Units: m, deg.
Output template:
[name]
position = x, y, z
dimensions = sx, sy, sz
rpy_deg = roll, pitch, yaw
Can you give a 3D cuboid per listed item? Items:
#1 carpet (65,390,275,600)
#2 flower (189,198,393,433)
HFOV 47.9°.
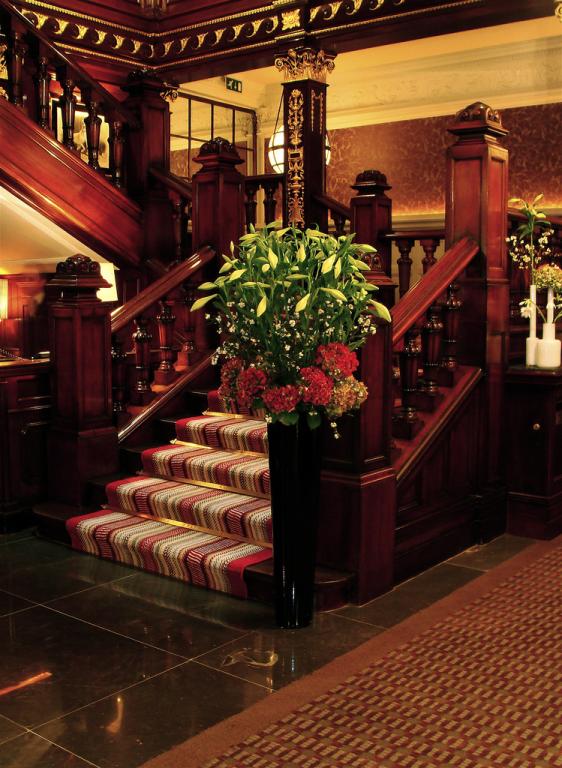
[carpet]
position = -0.346, 0.587, 3.422
dimensions = 1.142, 0.468, 1.147
rpy_deg = 7, 19, 36
[flower]
position = -0.029, -0.181, 2.297
dimensions = 0.631, 0.782, 0.656
rpy_deg = 8, 14, 43
